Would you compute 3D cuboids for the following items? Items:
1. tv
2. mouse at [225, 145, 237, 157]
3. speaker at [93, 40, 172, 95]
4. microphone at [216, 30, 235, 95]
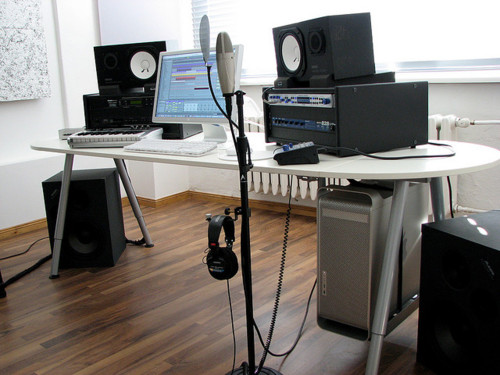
[{"bbox_3d":[-0.280,-0.471,1.889,0.659,0.475,0.139,3,11,31],"label":"tv"},{"bbox_3d":[-0.089,-0.171,1.686,0.040,0.023,0.101,-4,32,2],"label":"mouse"},{"bbox_3d":[-0.792,-0.792,2.547,0.525,0.365,0.348,2,22,10],"label":"speaker"},{"bbox_3d":[-0.085,-0.425,1.258,0.059,0.198,0.139,-3,15,-3],"label":"microphone"}]
